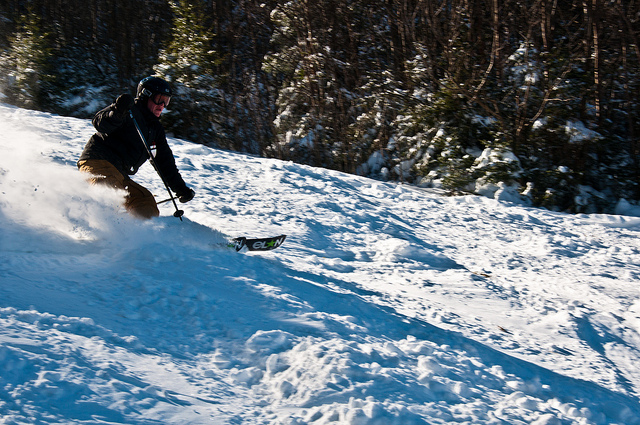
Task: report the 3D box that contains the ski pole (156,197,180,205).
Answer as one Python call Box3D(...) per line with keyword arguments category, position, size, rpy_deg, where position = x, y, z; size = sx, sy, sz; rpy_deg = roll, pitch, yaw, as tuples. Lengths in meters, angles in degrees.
Box3D(category="ski pole", position=(-2.469, -0.181, 11.422), size=(0.580, 0.053, 0.100), rpy_deg=(-10, -13, 35))

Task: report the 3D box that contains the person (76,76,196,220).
Box3D(category="person", position=(-2.821, -1.100, 11.003), size=(1.489, 1.951, 0.627), rpy_deg=(-4, 19, -37))

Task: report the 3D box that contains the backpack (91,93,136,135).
Box3D(category="backpack", position=(-3.065, -1.455, 10.700), size=(1.190, 0.288, 0.318), rpy_deg=(-20, -51, 41))

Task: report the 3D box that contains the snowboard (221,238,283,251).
Box3D(category="snowboard", position=(-1.034, 0.532, 11.284), size=(1.055, 0.180, 0.092), rpy_deg=(-4, 18, -37))
